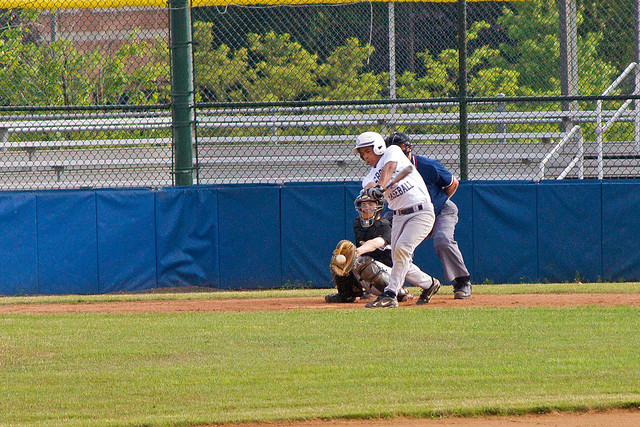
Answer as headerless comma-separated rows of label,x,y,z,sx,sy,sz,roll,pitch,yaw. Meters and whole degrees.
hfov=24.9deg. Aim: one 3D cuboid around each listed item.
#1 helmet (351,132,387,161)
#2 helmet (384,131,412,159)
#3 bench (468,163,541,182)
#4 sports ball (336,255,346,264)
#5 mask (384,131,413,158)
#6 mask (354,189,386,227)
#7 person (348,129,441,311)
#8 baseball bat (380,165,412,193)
helmet,0.747,-0.996,21.851,0.456,0.358,0.333,-9,-11,-16
helmet,1.190,-1.057,22.193,0.402,0.252,0.284,9,5,11
bench,3.226,-0.734,25.837,1.223,0.322,0.819,-1,15,4
sports ball,0.298,0.708,21.874,0.115,0.116,0.114,-14,0,0
mask,1.133,-1.101,22.167,0.254,0.229,0.377,5,14,23
mask,0.736,-0.050,21.935,0.435,0.665,0.464,-1,15,2
person,1.189,0.146,21.909,1.109,2.692,1.311,-1,15,3
baseball bat,1.092,-0.508,21.571,0.568,0.081,0.064,-41,8,-6
